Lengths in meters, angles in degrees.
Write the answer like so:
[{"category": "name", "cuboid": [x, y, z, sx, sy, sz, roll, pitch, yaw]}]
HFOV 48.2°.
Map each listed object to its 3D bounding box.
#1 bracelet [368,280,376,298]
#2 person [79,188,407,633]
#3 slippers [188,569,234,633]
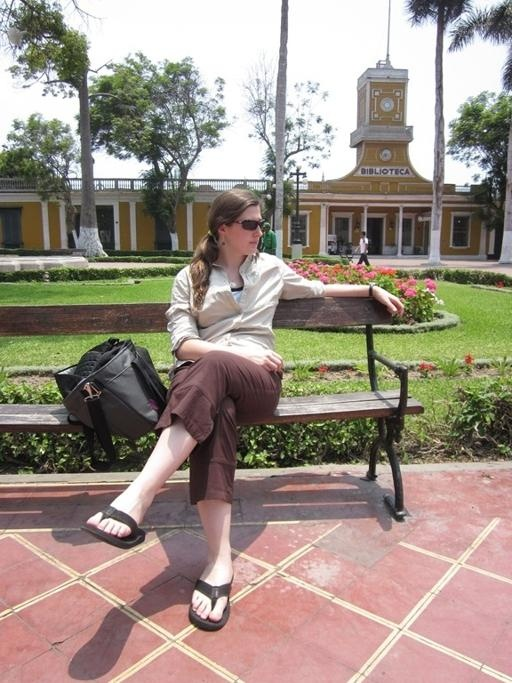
[{"category": "bracelet", "cuboid": [0.580, -0.251, 2.856, 0.045, 0.066, 0.067, 2, -24, 21]}, {"category": "person", "cuboid": [-0.085, 0.080, 2.169, 0.643, 1.335, 1.379, 1, 10, 7]}, {"category": "slippers", "cuboid": [-0.140, 0.776, 1.712, 0.118, 0.081, 0.181, 0, 9, 0]}]
